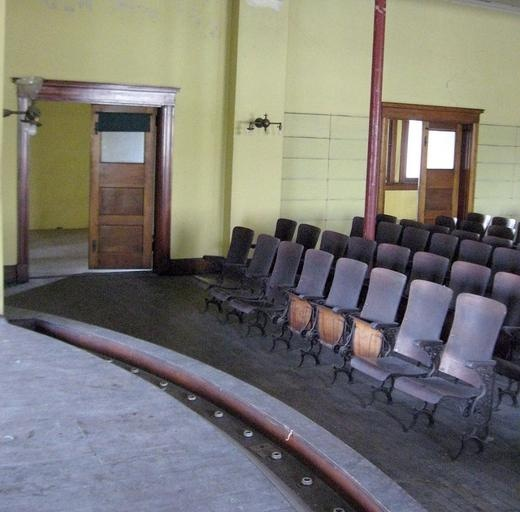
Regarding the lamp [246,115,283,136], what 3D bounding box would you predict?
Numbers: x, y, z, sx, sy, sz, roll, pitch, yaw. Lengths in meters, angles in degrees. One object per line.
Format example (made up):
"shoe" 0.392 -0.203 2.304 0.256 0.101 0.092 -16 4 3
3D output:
"lamp" 0.079 -2.424 8.662 0.673 0.278 0.336 -6 20 -29
